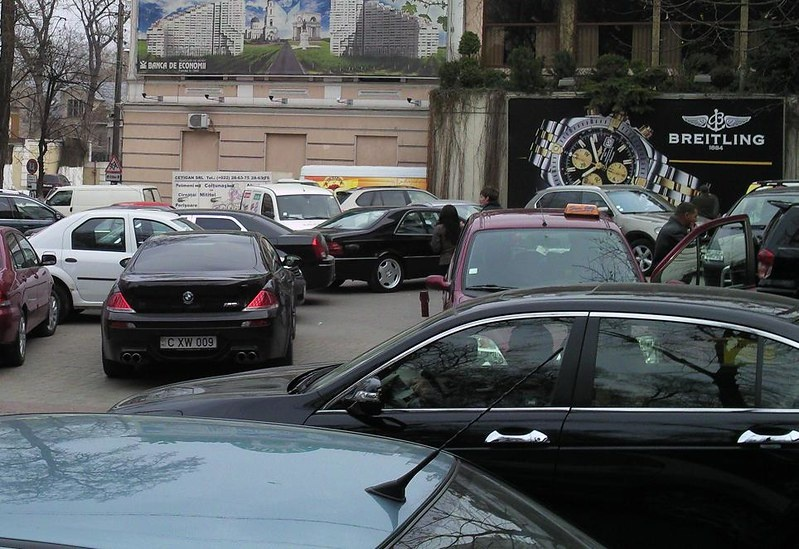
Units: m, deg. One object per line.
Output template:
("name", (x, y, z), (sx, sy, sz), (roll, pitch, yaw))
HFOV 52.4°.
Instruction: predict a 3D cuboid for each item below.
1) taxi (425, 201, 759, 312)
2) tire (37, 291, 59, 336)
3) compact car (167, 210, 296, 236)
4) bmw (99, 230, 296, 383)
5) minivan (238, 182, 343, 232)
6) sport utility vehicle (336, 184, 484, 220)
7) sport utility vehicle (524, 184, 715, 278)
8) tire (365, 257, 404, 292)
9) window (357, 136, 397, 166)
("taxi", (2.049, -0.169, 7.929), (3.413, 0.959, 1.399), (-3, 2, 10))
("tire", (-5.360, 0.597, 12.375), (0.245, 0.624, 0.687), (1, -10, -15))
("compact car", (-3.237, -1.054, 15.889), (2.075, 0.576, 0.808), (0, 4, -2))
("bmw", (-2.241, 0.317, 9.040), (1.357, 0.758, 2.576), (0, 6, -2))
("minivan", (-2.756, -1.742, 20.948), (1.312, 1.027, 2.313), (-4, 4, -44))
("sport utility vehicle", (0.344, -2.286, 25.027), (4.030, 1.119, 1.650), (-2, 5, -6))
("sport utility vehicle", (4.993, -1.079, 18.906), (5.074, 1.744, 2.202), (0, 3, 23))
("tire", (-0.347, -0.023, 17.678), (0.724, 0.635, 0.246), (19, -15, -34))
("window", (-0.874, -5.011, 32.995), (1.598, 1.130, 0.196), (1, -1, 1))
